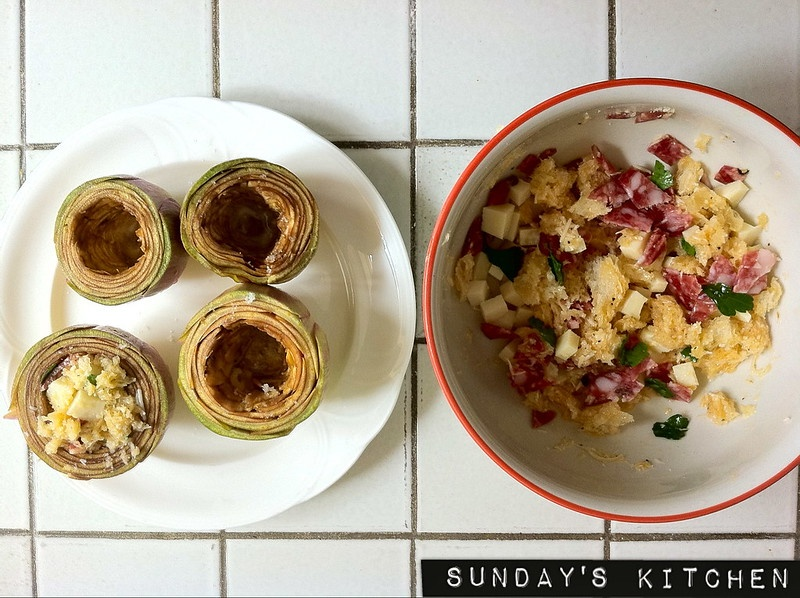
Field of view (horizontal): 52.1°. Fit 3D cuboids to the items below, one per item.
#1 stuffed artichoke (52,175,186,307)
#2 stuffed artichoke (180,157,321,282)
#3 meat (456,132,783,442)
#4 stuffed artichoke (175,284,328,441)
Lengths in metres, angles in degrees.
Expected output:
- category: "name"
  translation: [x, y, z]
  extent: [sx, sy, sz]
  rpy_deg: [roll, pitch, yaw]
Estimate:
- category: "stuffed artichoke"
  translation: [-0.360, -0.079, 1.157]
  extent: [0.165, 0.181, 0.186]
  rpy_deg: [-5, 95, -4]
- category: "stuffed artichoke"
  translation: [-0.204, -0.093, 1.137]
  extent: [0.203, 0.179, 0.097]
  rpy_deg: [-10, 83, 19]
- category: "meat"
  translation: [0.247, -0.007, 1.122]
  extent: [0.428, 0.146, 0.399]
  rpy_deg: [2, 88, -26]
- category: "stuffed artichoke"
  translation: [-0.188, 0.084, 1.074]
  extent: [0.189, 0.166, 0.222]
  rpy_deg: [0, 92, -3]
